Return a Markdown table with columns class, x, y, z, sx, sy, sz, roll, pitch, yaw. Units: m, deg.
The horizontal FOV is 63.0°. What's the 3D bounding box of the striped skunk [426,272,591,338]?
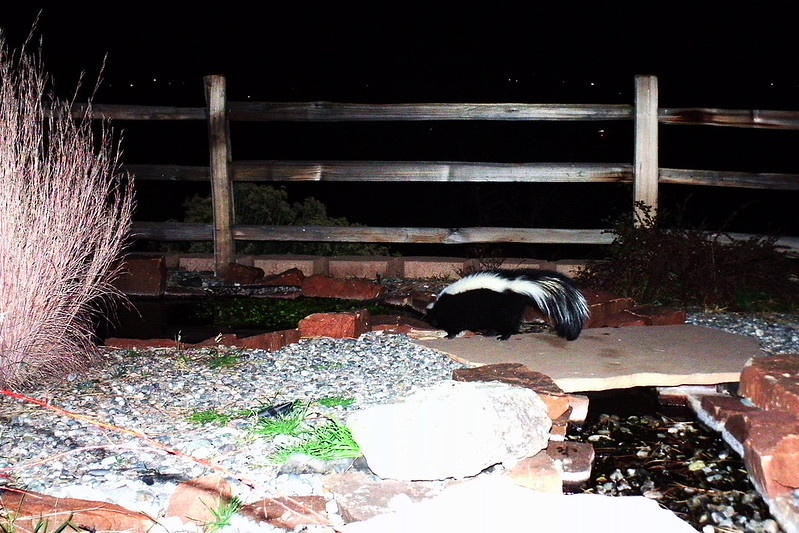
| class | x | y | z | sx | sy | sz | roll | pitch | yaw |
| --- | --- | --- | --- | --- | --- | --- | --- | --- | --- |
| striped skunk | 0.820 | 0.287 | 5.300 | 1.368 | 0.587 | 0.382 | 6 | 4 | 36 |
